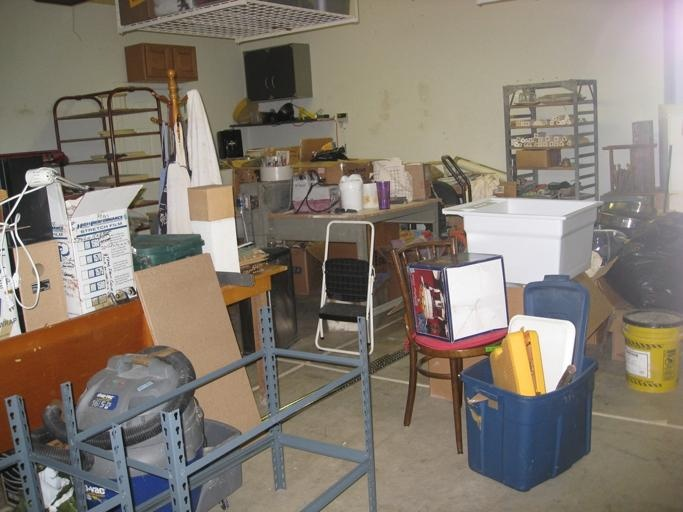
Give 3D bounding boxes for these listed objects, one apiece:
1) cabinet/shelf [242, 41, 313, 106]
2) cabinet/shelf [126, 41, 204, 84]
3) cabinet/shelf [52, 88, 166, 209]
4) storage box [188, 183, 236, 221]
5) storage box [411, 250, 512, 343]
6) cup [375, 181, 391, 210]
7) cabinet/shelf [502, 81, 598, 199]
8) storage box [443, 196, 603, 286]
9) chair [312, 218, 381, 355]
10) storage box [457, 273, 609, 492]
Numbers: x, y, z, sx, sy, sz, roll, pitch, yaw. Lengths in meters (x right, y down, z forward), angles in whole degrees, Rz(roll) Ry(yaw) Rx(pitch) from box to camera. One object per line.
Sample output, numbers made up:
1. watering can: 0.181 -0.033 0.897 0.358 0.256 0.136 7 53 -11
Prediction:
1. cabinet/shelf: -1.005 -2.844 9.038 1.088 0.791 0.362 6 16 38
2. cabinet/shelf: -2.548 -2.733 8.232 0.427 0.508 0.914 8 17 41
3. cabinet/shelf: -2.850 -1.434 7.744 1.095 1.702 1.544 4 14 27
4. storage box: -0.793 -0.358 3.683 0.231 0.222 0.247 5 13 39
5. storage box: 0.689 0.249 3.446 0.530 0.416 0.519 -6 4 -4
6. cup: 0.380 -0.555 5.277 0.112 0.247 0.150 -4 13 -3
7. cabinet/shelf: 2.439 -1.349 6.791 1.100 1.349 0.942 4 15 29
8. storage box: 1.138 -0.103 3.668 0.839 0.427 0.599 1 11 34
9. chair: 0.034 0.254 4.680 0.513 1.006 0.494 3 14 18
10. storage box: 1.038 0.680 3.177 0.693 1.041 0.476 -12 16 -36
